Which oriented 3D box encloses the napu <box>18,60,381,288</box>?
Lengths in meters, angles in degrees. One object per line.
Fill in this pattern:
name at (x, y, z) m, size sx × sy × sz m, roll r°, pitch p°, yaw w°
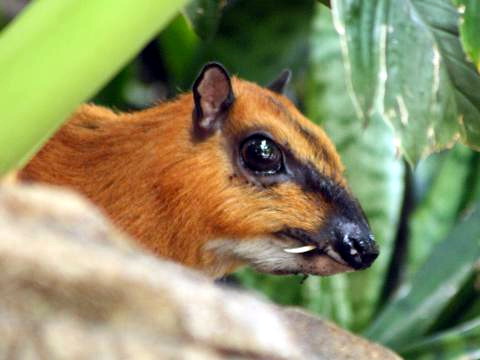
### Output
napu at (-0.034, -0.028, 1.111) m, size 0.529 × 0.216 × 0.277 m, roll 22°, pitch 48°, yaw -8°
